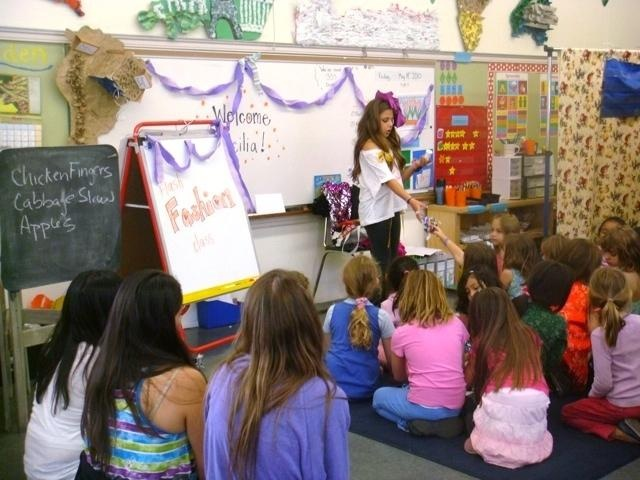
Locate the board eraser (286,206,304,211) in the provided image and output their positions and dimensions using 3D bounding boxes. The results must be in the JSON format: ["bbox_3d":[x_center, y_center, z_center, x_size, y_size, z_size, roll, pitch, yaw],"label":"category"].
[{"bbox_3d":[-0.241,-0.290,4.491,0.280,0.043,0.027,-1,3,-39],"label":"board eraser"}]

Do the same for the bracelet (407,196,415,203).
[{"bbox_3d":[0.721,-0.326,3.808,0.015,0.056,0.056,20,-15,-20],"label":"bracelet"}]

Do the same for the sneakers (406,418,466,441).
[{"bbox_3d":[0.645,1.020,2.639,0.202,0.058,0.132,0,15,6],"label":"sneakers"}]

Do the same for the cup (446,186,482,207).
[{"bbox_3d":[1.564,-0.474,5.215,0.369,0.189,0.245,-1,6,-7],"label":"cup"}]

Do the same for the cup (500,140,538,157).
[{"bbox_3d":[2.313,-1.058,5.560,0.412,0.194,0.205,3,4,34],"label":"cup"}]

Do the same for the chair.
[{"bbox_3d":[0.188,0.045,4.667,0.681,0.925,0.662,7,6,-28],"label":"chair"}]

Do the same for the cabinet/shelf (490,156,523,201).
[{"bbox_3d":[2.161,-0.736,5.584,0.320,0.484,0.340,-3,17,5],"label":"cabinet/shelf"}]
